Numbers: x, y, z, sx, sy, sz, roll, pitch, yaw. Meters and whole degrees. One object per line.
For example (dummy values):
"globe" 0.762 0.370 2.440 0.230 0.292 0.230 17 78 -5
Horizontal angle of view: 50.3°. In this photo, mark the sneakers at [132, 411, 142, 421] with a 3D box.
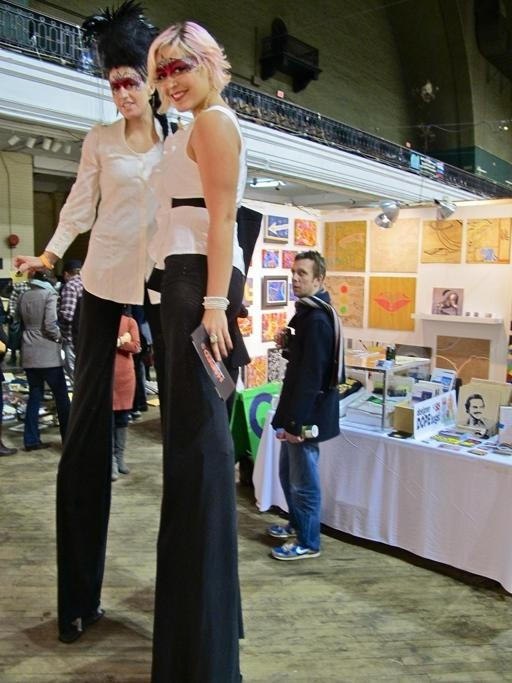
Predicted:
"sneakers" -1.249 0.788 5.722 0.067 0.070 0.174 1 -12 -9

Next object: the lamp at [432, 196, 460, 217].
"lamp" 1.943 -1.381 5.638 0.215 0.181 0.211 3 1 6

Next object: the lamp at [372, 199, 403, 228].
"lamp" 1.415 -1.365 5.867 0.206 0.213 0.309 3 1 2

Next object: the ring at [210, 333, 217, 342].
"ring" -0.091 -0.006 1.191 0.013 0.016 0.006 0 0 3

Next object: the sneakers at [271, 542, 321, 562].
"sneakers" 0.192 1.055 2.748 0.260 0.103 0.083 5 -5 -12

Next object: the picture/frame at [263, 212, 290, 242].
"picture/frame" 0.237 -1.291 6.262 0.141 0.211 0.464 4 2 31

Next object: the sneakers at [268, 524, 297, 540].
"sneakers" 0.155 1.061 3.039 0.165 0.063 0.064 4 0 3
